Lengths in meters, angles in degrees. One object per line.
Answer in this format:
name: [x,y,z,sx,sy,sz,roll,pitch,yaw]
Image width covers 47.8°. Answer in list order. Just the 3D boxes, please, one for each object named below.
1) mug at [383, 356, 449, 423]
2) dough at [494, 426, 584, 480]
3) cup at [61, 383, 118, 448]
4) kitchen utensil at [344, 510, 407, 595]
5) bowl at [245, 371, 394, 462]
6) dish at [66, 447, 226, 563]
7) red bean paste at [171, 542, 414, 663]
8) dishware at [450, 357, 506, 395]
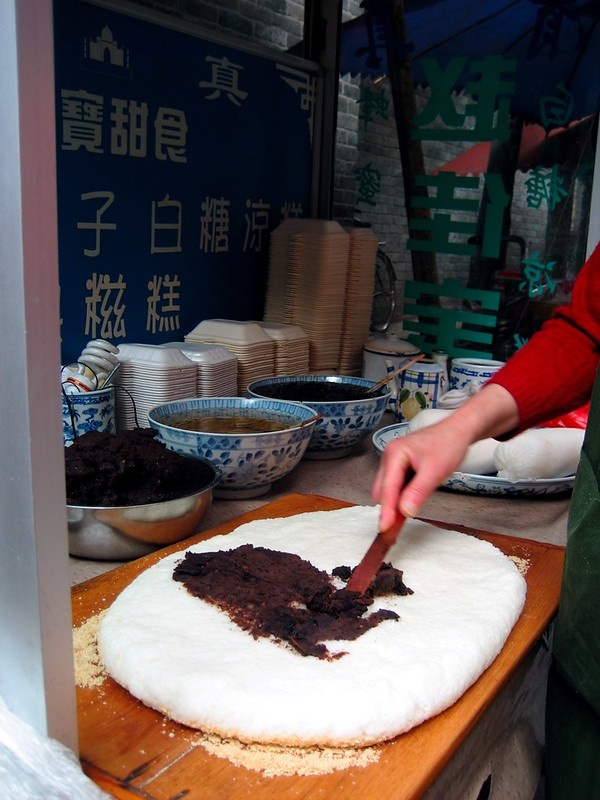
mug: [0.282,-0.022,1.633,0.185,0.160,0.123,5,19,-11]
dough: [0.422,0.091,1.227,0.178,0.073,0.077,-5,-16,-29]
cup: [-0.345,0.025,1.098,0.114,0.077,0.113,0,3,0]
kitchen utensil: [0.099,0.161,0.785,0.029,0.013,0.174,8,28,31]
bowl: [0.059,0.031,1.377,0.199,0.088,0.191,16,-14,4]
dish: [-0.226,0.171,0.955,0.231,0.075,0.222,-7,-5,22]
red bean paste: [-0.026,0.203,0.714,0.161,0.021,0.104,9,18,40]
dishware: [0.429,-0.067,1.643,0.144,0.077,0.133,-1,11,-2]
